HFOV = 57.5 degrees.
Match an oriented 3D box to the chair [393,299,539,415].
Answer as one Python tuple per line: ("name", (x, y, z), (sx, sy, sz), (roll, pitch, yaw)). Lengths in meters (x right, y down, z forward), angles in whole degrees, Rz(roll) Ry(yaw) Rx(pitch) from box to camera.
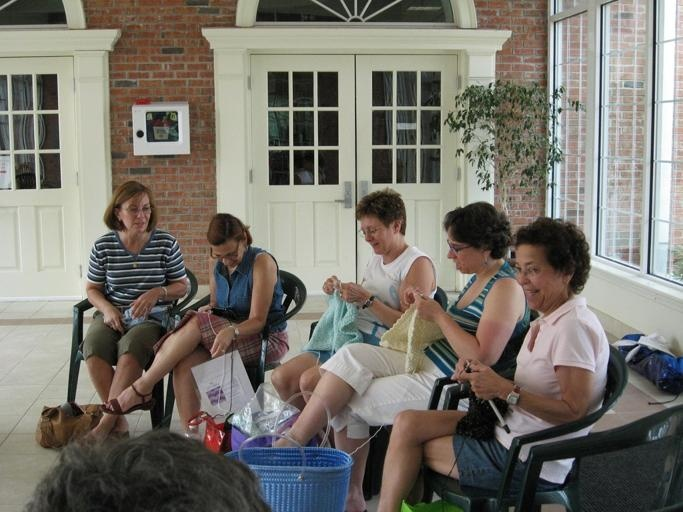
("chair", (0.490, 0.383, 2.686), (0.450, 0.632, 0.451), (-4, -7, 27))

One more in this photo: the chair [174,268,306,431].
("chair", (-0.562, 0.457, 3.579), (0.732, 1.033, 0.635), (2, 4, -44))

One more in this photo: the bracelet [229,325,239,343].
("bracelet", (-0.521, 0.367, 3.028), (0.041, 0.068, 0.065), (-8, -5, -22))

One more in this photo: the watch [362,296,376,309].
("watch", (0.121, 0.217, 2.937), (0.039, 0.065, 0.057), (39, -7, 0))

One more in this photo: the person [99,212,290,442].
("person", (-0.677, 0.368, 3.119), (0.496, 1.141, 1.030), (3, 7, 29))

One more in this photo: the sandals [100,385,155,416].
("sandals", (-1.074, 0.717, 3.126), (0.271, 0.146, 0.119), (3, 3, -23))

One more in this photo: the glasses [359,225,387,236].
("glasses", (0.172, -0.138, 3.043), (0.066, 0.041, 0.084), (-13, -18, 39))

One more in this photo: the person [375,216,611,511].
("person", (0.483, 0.377, 2.832), (1.062, 1.551, 0.669), (2, 0, 12))
